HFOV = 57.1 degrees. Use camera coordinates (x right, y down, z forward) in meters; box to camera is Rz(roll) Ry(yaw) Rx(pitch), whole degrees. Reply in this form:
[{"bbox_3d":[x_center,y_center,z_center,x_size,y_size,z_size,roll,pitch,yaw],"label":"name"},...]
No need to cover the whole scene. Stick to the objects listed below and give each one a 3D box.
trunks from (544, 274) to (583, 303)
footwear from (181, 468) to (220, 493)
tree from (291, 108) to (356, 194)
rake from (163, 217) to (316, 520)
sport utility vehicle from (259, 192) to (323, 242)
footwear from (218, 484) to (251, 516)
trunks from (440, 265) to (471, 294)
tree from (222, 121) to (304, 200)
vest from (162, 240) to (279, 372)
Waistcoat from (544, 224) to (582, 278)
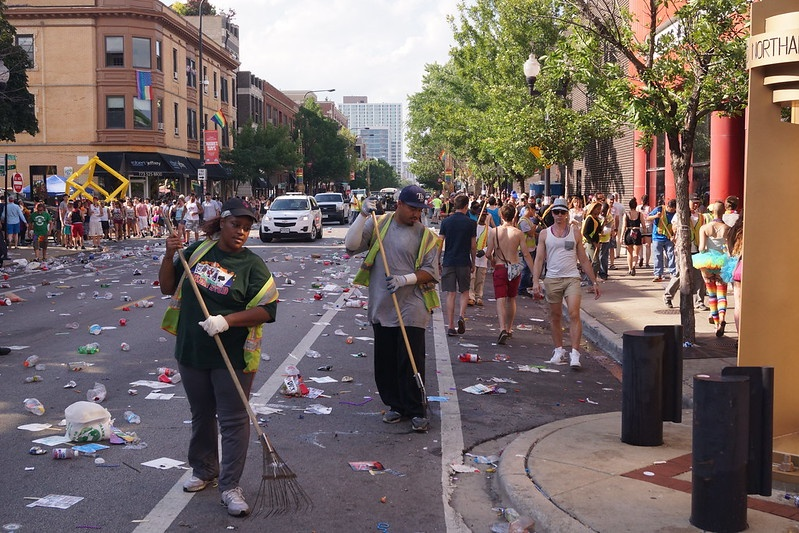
[{"bbox_3d":[2.412,0.341,10.796,0.560,0.467,0.360,-2,-4,8],"label":"trunks"},{"bbox_3d":[-1.760,1.919,6.539,0.312,0.141,0.144,3,-2,-19],"label":"footwear"},{"bbox_3d":[-9.441,-15.131,88.600,9.074,10.705,7.849,-1,4,7],"label":"tree"},{"bbox_3d":[-1.308,0.828,6.351,1.106,2.508,1.174,-5,7,-39],"label":"rake"},{"bbox_3d":[-4.642,-2.097,32.519,1.578,1.261,2.989,-1,-1,2],"label":"sport utility vehicle"},{"bbox_3d":[-1.366,1.977,6.173,0.134,0.133,0.307,-4,3,-33],"label":"footwear"},{"bbox_3d":[1.000,0.218,12.942,0.702,0.675,0.409,1,-3,3],"label":"trunks"},{"bbox_3d":[-12.396,-8.680,64.290,6.803,6.779,6.749,2,21,2],"label":"tree"},{"bbox_3d":[-1.577,0.314,6.496,1.060,1.051,0.599,11,8,18],"label":"vest"},{"bbox_3d":[2.404,-0.225,10.908,0.512,0.833,0.446,-2,-2,6],"label":"Waistcoat"}]
